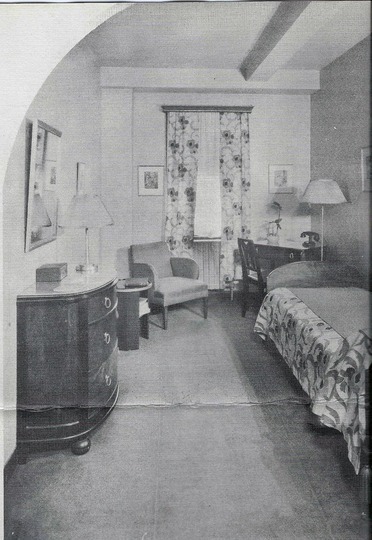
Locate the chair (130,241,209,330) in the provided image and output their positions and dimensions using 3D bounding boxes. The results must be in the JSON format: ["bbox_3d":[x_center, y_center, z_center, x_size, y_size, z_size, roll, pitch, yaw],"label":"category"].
[{"bbox_3d":[-0.052,0.023,1.388,0.166,0.287,0.188,-9,13,-41],"label":"chair"}]

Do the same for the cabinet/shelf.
[{"bbox_3d":[-0.347,0.292,1.707,0.316,0.891,0.562,0,6,-1],"label":"cabinet/shelf"}]

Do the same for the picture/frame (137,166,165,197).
[{"bbox_3d":[-0.098,-0.256,1.312,0.062,0.094,0.003,2,8,7],"label":"picture/frame"}]

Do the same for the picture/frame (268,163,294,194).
[{"bbox_3d":[0.273,-0.266,1.334,0.063,0.095,0.006,-1,1,-8],"label":"picture/frame"}]

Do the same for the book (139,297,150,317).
[{"bbox_3d":[-0.124,0.109,1.342,0.036,0.067,0.041,0,3,12],"label":"book"}]

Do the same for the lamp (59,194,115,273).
[{"bbox_3d":[-0.287,-0.111,1.328,0.151,0.225,0.046,0,5,14],"label":"lamp"}]
